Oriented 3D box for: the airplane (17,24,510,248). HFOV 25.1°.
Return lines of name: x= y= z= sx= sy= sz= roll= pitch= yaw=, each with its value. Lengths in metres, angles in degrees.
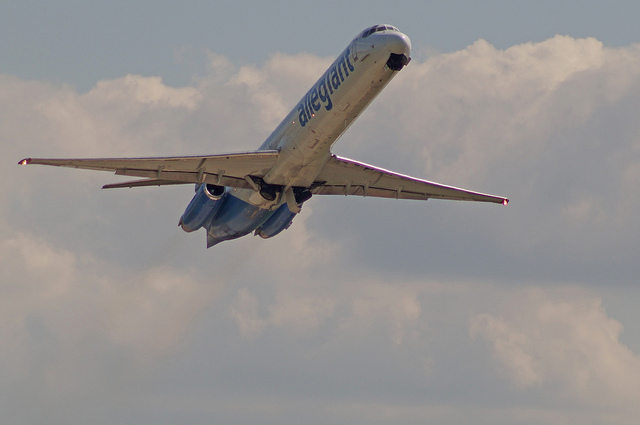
airplane: x=-2.035 y=-2.890 z=78.694 sx=17.132 sy=15.876 sz=3.848 roll=6 pitch=61 yaw=-30
